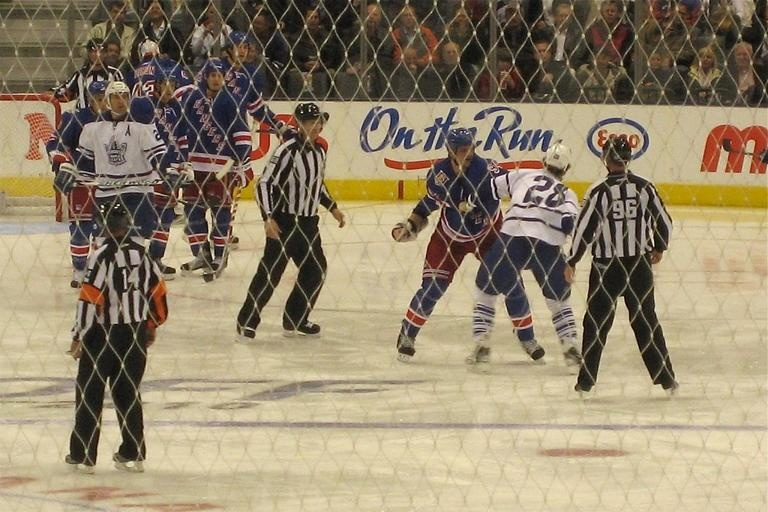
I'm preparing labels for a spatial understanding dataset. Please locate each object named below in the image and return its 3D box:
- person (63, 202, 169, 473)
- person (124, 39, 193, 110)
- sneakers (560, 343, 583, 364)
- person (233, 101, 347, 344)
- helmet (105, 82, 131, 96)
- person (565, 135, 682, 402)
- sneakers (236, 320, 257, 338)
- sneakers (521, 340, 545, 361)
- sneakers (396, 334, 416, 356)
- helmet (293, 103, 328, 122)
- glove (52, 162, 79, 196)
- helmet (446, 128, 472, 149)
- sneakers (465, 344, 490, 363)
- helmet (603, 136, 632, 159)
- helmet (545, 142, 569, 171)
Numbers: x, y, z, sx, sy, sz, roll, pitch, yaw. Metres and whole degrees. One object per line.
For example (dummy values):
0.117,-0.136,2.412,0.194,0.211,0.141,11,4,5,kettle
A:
-1.730,0.533,8.663,0.509,1.656,0.517,2,12,16,person
-2.121,-1.766,12.913,0.673,0.387,1.200,2,18,-21,person
1.418,0.735,10.198,0.168,0.234,0.139,0,-6,0,sneakers
-0.761,-0.275,10.824,0.901,1.907,0.592,-3,12,-8,person
-2.148,-1.346,10.867,0.193,0.110,0.143,-1,12,0,helmet
1.716,0.075,9.714,0.804,1.842,0.534,0,12,7,person
-1.113,0.593,10.979,0.134,0.086,0.134,5,4,32,sneakers
1.153,0.723,10.429,0.193,0.086,0.266,2,3,4,sneakers
0.173,0.684,10.392,0.112,0.181,0.186,9,-12,-14,sneakers
-0.573,-1.116,10.557,0.219,0.108,0.148,-6,1,21,helmet
-2.660,-0.656,11.339,0.213,0.261,0.099,7,16,11,glove
0.583,-0.886,10.169,0.178,0.160,0.144,-8,-1,43,helmet
0.702,0.737,10.267,0.174,0.158,0.105,0,11,3,sneakers
1.682,-0.781,9.746,0.197,0.175,0.259,1,12,12,helmet
1.303,-0.759,10.203,0.169,0.218,0.223,11,15,11,helmet
